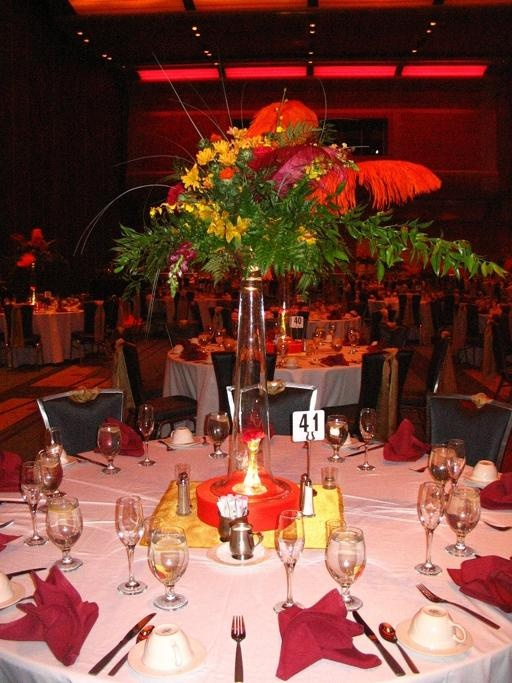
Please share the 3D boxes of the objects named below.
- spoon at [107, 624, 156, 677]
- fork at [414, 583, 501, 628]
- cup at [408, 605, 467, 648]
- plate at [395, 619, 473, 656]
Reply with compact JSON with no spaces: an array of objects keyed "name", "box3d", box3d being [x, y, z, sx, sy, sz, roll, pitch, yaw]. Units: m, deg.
[{"name":"spoon","box3d":[-0.207,0.511,0.858,0.120,0.024,0.017,-39,28,2]},{"name":"fork","box3d":[0.395,0.525,1.044,0.033,0.027,0.201,13,-1,-28]},{"name":"cup","box3d":[0.316,0.485,0.897,0.080,0.049,0.060,4,-4,34]},{"name":"plate","box3d":[0.301,0.504,0.883,0.123,0.028,0.103,1,2,23]}]
